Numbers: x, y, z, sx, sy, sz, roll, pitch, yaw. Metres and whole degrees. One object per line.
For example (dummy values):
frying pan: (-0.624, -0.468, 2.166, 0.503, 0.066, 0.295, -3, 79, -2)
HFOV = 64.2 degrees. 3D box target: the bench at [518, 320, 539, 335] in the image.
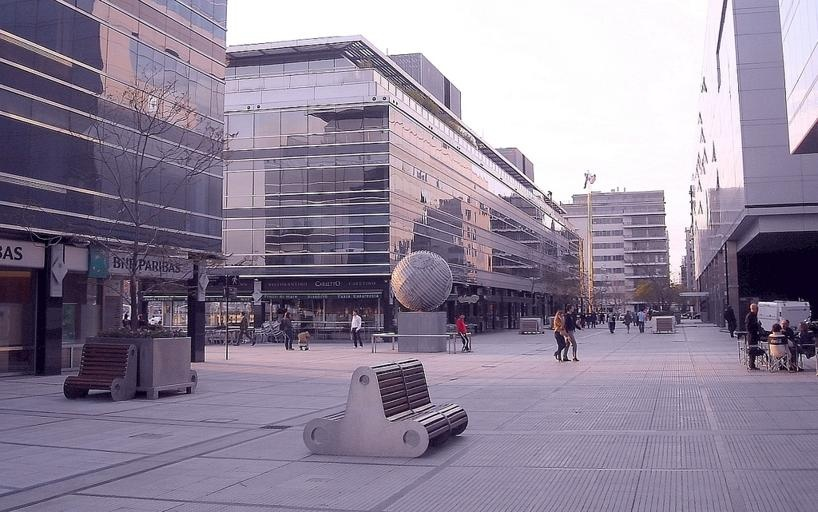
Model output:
bench: (10.637, 6.134, 56.840, 1.368, 0.977, 1.380, 0, 3, 20)

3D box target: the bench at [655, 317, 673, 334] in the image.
bench: (20.608, 5.545, 52.521, 1.479, 1.096, 1.509, 0, 4, 25)

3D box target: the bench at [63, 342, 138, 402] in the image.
bench: (-8.062, 3.043, 17.303, 1.632, 1.541, 0.663, -4, -9, 17)

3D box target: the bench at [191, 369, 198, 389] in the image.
bench: (-6.131, 3.501, 18.592, 0.122, 0.453, 0.601, 0, -10, -9)
